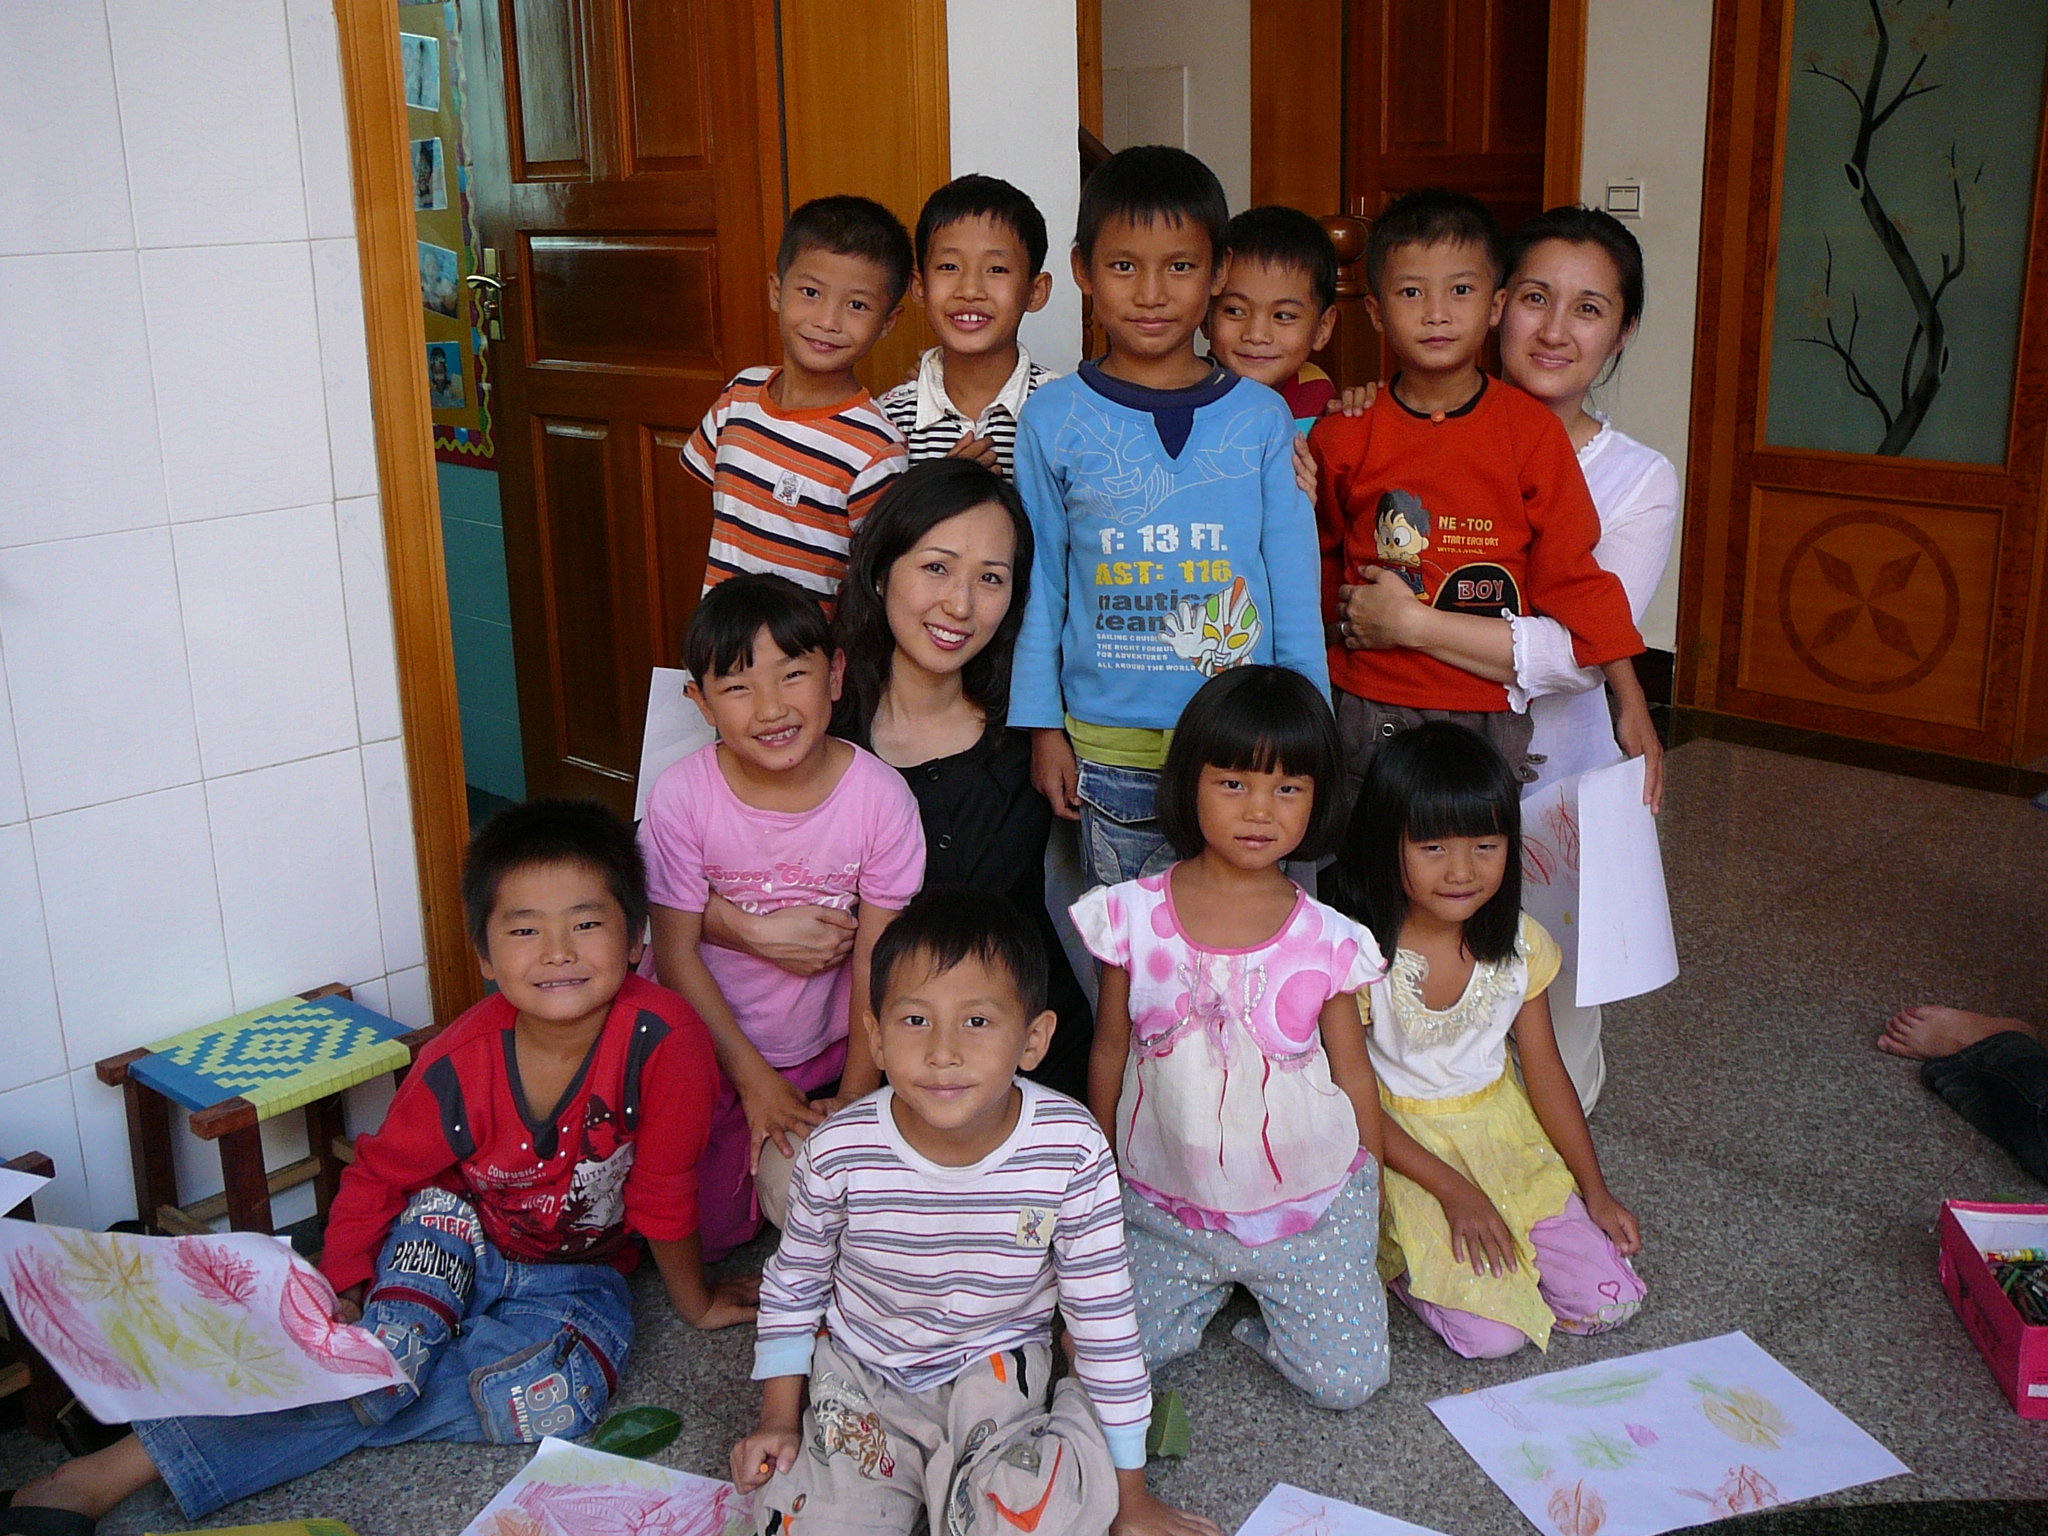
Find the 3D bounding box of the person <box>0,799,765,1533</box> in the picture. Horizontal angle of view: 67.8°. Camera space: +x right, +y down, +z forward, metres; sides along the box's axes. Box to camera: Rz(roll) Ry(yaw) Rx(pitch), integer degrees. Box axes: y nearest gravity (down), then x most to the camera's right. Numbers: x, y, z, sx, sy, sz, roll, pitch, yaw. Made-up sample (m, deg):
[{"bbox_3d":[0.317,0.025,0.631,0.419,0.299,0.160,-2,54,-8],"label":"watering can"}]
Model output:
[{"bbox_3d":[-0.705,0.444,2.158,0.530,0.814,1.044,18,21,4],"label":"person"}]
